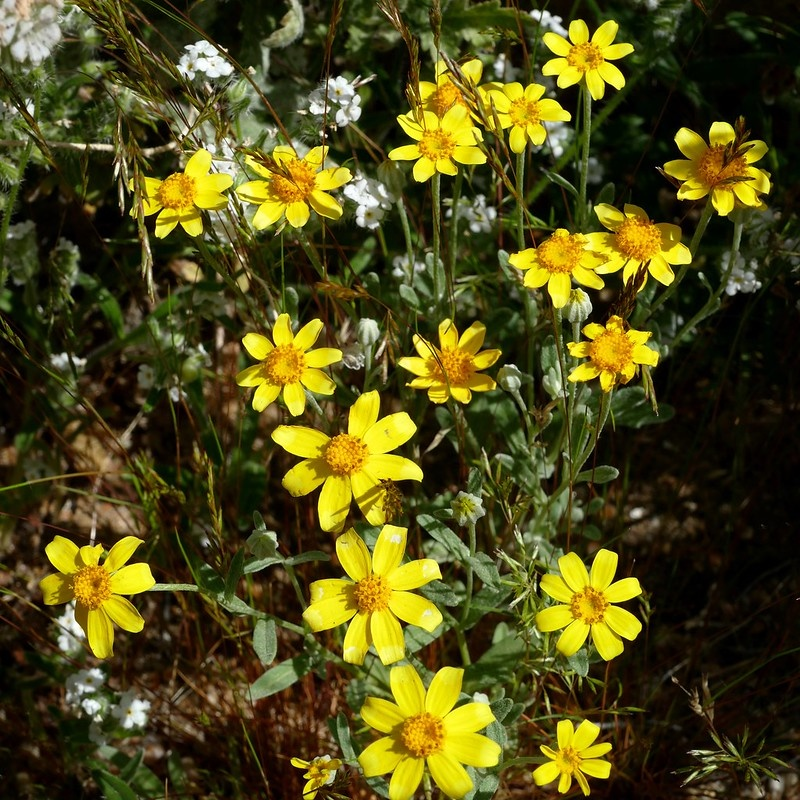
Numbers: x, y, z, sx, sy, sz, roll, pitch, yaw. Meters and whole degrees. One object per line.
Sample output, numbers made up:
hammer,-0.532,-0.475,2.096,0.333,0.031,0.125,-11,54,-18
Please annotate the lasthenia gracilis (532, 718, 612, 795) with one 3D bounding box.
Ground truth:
lasthenia gracilis,0.297,0.618,1.507,0.116,0.149,0.131,22,69,13

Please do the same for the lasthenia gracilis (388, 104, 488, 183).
lasthenia gracilis,0.068,-0.489,1.616,0.174,0.179,0.148,-1,65,3

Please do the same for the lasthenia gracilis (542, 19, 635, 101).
lasthenia gracilis,0.367,-0.620,1.720,0.159,0.052,0.176,-27,68,9

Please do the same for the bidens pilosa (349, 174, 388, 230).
bidens pilosa,-0.069,-0.391,1.775,0.088,0.028,0.094,26,58,-4

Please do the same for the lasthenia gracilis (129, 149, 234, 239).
lasthenia gracilis,-0.383,-0.367,1.575,0.142,0.058,0.171,-15,85,10

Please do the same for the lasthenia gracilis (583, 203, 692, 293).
lasthenia gracilis,0.422,-0.276,1.557,0.155,0.063,0.189,4,80,9

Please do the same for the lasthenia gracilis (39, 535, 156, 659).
lasthenia gracilis,-0.498,0.309,1.466,0.189,0.062,0.224,6,99,30
